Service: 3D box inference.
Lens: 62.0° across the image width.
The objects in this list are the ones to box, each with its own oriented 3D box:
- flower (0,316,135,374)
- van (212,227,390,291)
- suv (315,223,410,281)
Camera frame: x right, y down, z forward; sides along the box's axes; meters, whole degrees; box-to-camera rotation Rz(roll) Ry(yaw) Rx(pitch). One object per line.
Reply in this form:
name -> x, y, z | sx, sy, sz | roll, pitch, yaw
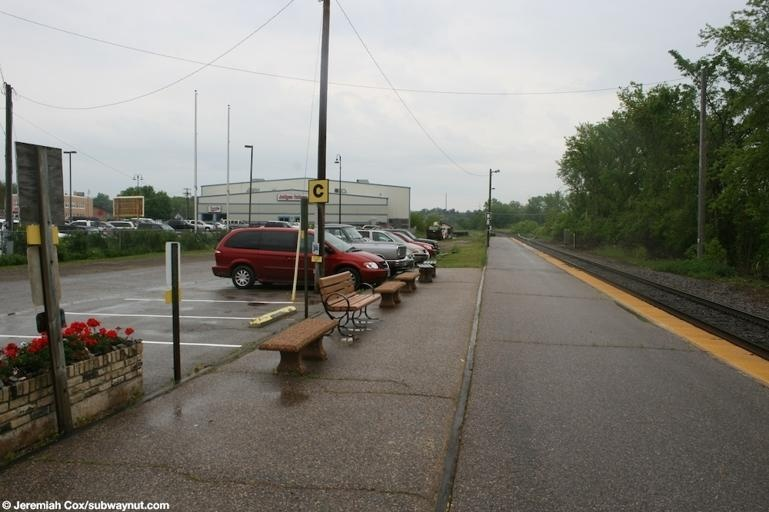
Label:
flower -> -4.249, 1.222, 8.397 | 0.851, 0.403, 1.257 | 2, 11, 30
van -> -2.593, 0.079, 19.159 | 4.609, 1.559, 2.187 | -1, 1, 8
suv -> -0.770, -0.297, 24.393 | 3.474, 1.254, 1.617 | 3, 4, 16
